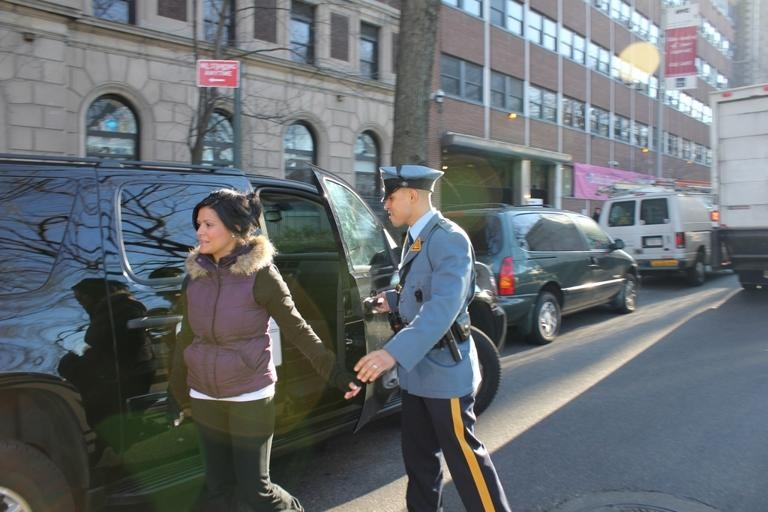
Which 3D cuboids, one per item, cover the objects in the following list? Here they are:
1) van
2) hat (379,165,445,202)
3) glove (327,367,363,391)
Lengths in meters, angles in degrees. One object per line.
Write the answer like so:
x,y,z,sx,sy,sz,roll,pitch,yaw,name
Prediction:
6.742,-0.383,13.993,2.349,2.059,4.014,-1,7,37,van
0.169,-0.497,3.583,0.290,0.139,0.251,-11,6,10,hat
-0.238,0.778,3.349,0.168,0.069,0.168,32,32,3,glove
